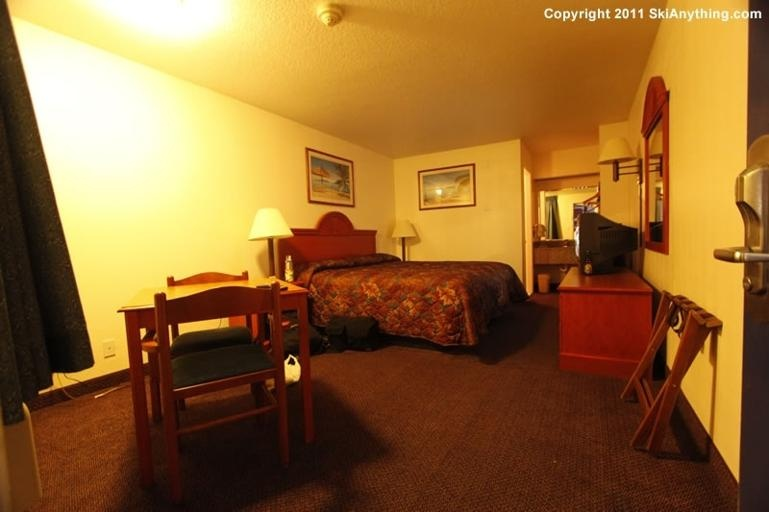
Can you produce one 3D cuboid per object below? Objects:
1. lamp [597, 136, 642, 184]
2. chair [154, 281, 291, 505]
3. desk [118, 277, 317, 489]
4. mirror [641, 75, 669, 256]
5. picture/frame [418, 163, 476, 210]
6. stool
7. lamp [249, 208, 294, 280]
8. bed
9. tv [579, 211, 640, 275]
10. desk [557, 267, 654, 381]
[{"bbox_3d":[2.269,-0.898,5.250,0.423,0.434,0.331,1,2,37],"label":"lamp"},{"bbox_3d":[-1.104,0.733,3.647,0.904,1.338,0.924,-11,15,-43],"label":"chair"},{"bbox_3d":[-1.264,0.693,3.853,1.156,0.948,1.225,-2,4,43],"label":"desk"},{"bbox_3d":[2.188,-0.726,4.402,0.077,1.680,1.509,0,3,21],"label":"mirror"},{"bbox_3d":[0.834,-0.928,7.495,0.785,0.576,0.020,-5,17,5],"label":"picture/frame"},{"bbox_3d":[1.887,0.770,3.566,0.305,0.886,0.942,25,4,12],"label":"stool"},{"bbox_3d":[-1.109,-0.119,5.243,0.391,0.675,0.575,-4,8,-14],"label":"lamp"},{"bbox_3d":[0.141,0.290,5.361,1.609,0.942,1.845,1,4,24],"label":"bed"},{"bbox_3d":[2.041,-0.110,4.982,0.532,0.582,0.565,0,2,27],"label":"tv"},{"bbox_3d":[1.934,0.468,4.818,0.650,0.672,1.347,2,11,23],"label":"desk"}]
